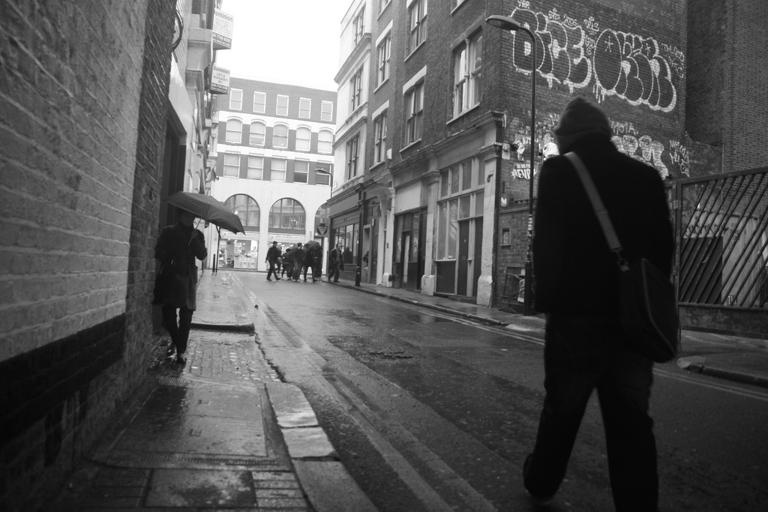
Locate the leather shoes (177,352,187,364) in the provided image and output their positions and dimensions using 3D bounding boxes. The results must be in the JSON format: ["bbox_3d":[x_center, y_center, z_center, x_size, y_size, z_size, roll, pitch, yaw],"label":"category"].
[{"bbox_3d":[-2.674,1.355,7.513,0.102,0.155,0.146,14,-23,-39],"label":"leather shoes"}]

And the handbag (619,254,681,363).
[{"bbox_3d":[1.576,0.316,3.374,0.407,0.585,0.187,7,-12,-42],"label":"handbag"}]
